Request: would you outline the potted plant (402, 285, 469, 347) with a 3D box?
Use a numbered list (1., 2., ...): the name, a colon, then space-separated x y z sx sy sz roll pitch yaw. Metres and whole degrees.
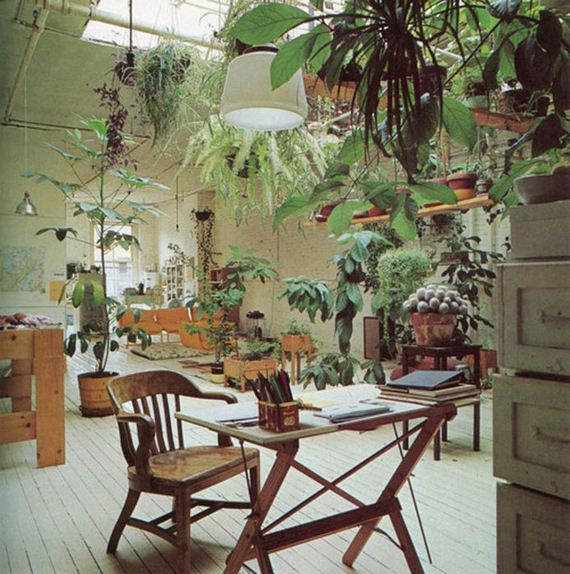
1. potted plant: 1.043 0.200 3.742 0.476 0.413 0.435 0 0 -1
